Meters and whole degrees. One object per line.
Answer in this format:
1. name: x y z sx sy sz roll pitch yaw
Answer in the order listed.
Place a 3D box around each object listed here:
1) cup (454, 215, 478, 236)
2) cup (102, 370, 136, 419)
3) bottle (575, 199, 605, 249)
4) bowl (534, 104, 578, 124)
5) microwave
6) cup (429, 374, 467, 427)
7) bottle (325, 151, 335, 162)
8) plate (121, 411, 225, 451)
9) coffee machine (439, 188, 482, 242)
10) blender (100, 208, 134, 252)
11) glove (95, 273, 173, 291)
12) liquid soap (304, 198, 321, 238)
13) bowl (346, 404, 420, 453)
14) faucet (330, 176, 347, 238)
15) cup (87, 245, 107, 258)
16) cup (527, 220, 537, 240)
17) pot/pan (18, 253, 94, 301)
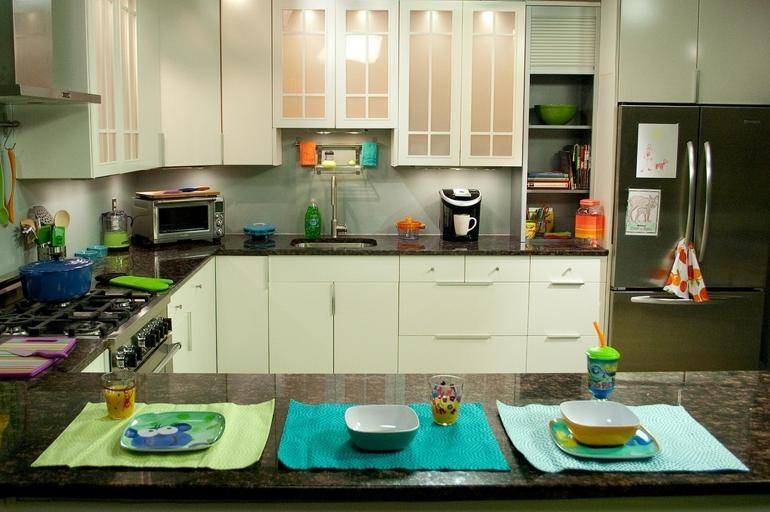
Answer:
1. cup: 0.607 -0.238 4.443 0.206 0.137 0.127 0 2 -16
2. cup: -0.855 0.440 1.844 0.095 0.134 0.118 -6 16 -26
3. bottle: 1.552 -0.245 4.330 0.230 0.341 0.170 12 18 35
4. bowl: 1.355 -1.128 4.563 0.327 0.161 0.222 2 14 0
5. microwave: -1.547 -0.275 4.234 0.667 0.369 0.307 -2 15 -15
6. cup: 0.195 0.466 1.830 0.134 0.134 0.133 0 1 0
7. bottle: -0.467 -0.828 4.735 0.083 0.078 0.081 4 8 16
8. plate: -0.643 0.535 1.746 0.288 0.033 0.169 1 14 -3
9. coffee machine: 0.517 -0.311 4.530 0.372 0.379 0.405 0 2 0
10. blender: -1.923 -0.171 4.091 0.198 0.235 0.182 -5 9 -43
11. glove: -1.387 0.150 3.168 0.288 0.038 0.169 3 6 19
12. liquid soap: -0.599 -0.311 4.724 0.143 0.300 0.241 0 15 -6
13. bowl: -0.018 0.543 1.740 0.210 0.060 0.216 1 -2 0
14. faucet: -0.388 -0.410 4.743 0.146 0.492 0.222 0 15 -5
15. cup: -1.936 -0.035 3.860 0.086 0.041 0.101 -3 13 -25
16. cup: 1.170 -0.212 4.587 0.070 0.137 0.217 7 15 20
17. pot/pan: -1.627 0.085 2.816 0.247 0.133 0.257 2 8 14
